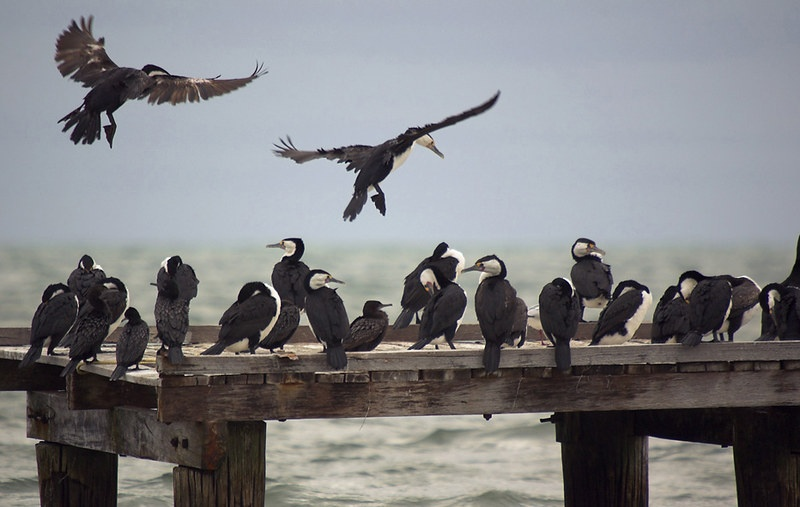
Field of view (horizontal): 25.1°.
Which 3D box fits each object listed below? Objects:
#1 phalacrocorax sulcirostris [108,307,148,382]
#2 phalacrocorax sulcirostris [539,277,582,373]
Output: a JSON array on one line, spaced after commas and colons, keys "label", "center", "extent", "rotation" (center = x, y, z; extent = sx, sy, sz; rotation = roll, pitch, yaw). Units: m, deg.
[{"label": "phalacrocorax sulcirostris", "center": [-4.608, 1.590, 31.072], "extent": [0.591, 1.263, 0.886], "rotation": [3, 0, -9]}, {"label": "phalacrocorax sulcirostris", "center": [2.734, 1.232, 31.025], "extent": [0.589, 1.631, 0.794], "rotation": [3, 0, -21]}]
